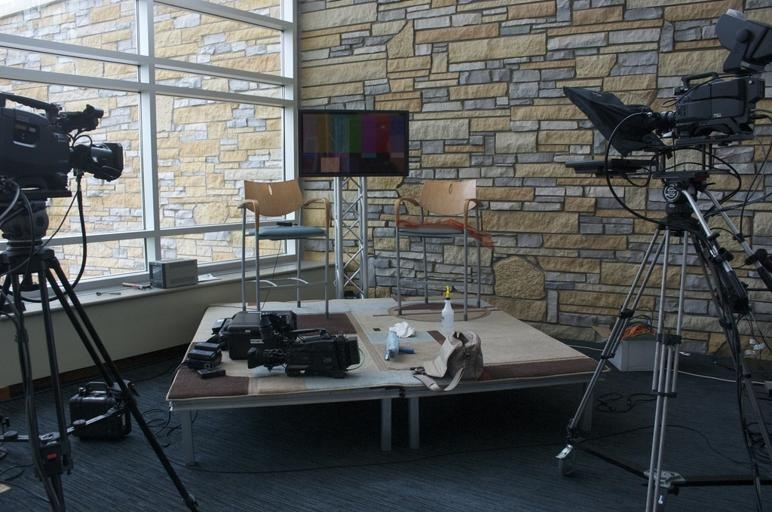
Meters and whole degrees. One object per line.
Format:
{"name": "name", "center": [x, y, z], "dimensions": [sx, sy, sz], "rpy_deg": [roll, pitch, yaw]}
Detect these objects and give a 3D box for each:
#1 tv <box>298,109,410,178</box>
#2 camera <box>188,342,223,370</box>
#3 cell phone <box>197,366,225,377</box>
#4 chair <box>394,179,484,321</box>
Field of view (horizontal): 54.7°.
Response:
{"name": "tv", "center": [-0.228, -0.876, 5.797], "dimensions": [1.068, 0.514, 0.105], "rpy_deg": [7, 14, 34]}
{"name": "camera", "center": [-1.122, 0.617, 4.620], "dimensions": [0.214, 0.100, 0.166], "rpy_deg": [0, 2, 5]}
{"name": "cell phone", "center": [-1.058, 0.701, 4.515], "dimensions": [0.155, 0.041, 0.134], "rpy_deg": [-4, 7, -22]}
{"name": "chair", "center": [0.423, -0.130, 5.690], "dimensions": [0.859, 0.811, 0.683], "rpy_deg": [1, 10, 25]}
